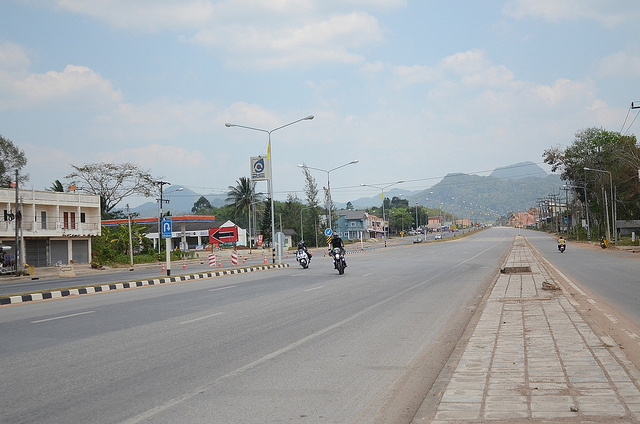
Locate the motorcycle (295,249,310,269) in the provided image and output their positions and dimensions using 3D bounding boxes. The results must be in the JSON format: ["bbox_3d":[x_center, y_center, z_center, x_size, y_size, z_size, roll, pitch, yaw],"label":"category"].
[{"bbox_3d":[-1.182,3.208,35.571,0.701,1.312,0.682,-1,3,7],"label":"motorcycle"}]

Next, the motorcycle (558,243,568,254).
[{"bbox_3d":[23.189,3.518,49.983,0.884,0.842,1.441,3,3,17],"label":"motorcycle"}]

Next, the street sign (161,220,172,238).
[{"bbox_3d":[-9.243,1.078,31.608,0.522,1.010,0.637,-3,3,-25],"label":"street sign"}]

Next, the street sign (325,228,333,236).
[{"bbox_3d":[0.876,2.028,51.281,0.844,0.772,0.186,-18,14,-31],"label":"street sign"}]

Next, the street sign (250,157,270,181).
[{"bbox_3d":[-4.637,-3.383,40.779,1.564,1.740,0.769,-1,3,12],"label":"street sign"}]

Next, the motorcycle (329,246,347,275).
[{"bbox_3d":[1.062,2.695,29.419,0.709,1.558,1.119,-2,3,3],"label":"motorcycle"}]

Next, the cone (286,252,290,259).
[{"bbox_3d":[-4.120,5.589,67.324,0.577,0.969,0.521,-2,2,-8],"label":"cone"}]
